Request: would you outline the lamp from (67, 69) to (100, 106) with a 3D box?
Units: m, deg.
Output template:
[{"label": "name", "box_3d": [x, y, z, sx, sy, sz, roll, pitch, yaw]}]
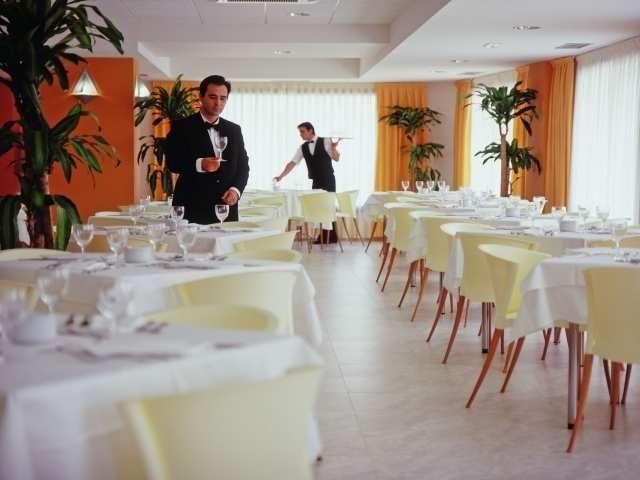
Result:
[{"label": "lamp", "box_3d": [-2.864, -1.902, 6.072, 0.325, 0.353, 0.531, -5, 9, -33]}]

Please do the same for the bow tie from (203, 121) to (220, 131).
[{"label": "bow tie", "box_3d": [-0.862, -0.905, 3.980, 0.086, 0.056, 0.117, -2, 8, 1]}]

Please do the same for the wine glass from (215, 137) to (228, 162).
[{"label": "wine glass", "box_3d": [-0.759, -0.709, 3.887, 0.088, 0.198, 0.352, -1, 7, -10]}]

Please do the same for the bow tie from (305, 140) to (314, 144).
[{"label": "bow tie", "box_3d": [-0.175, -1.882, 9.569, 0.122, 0.082, 0.189, -4, 8, -28]}]
